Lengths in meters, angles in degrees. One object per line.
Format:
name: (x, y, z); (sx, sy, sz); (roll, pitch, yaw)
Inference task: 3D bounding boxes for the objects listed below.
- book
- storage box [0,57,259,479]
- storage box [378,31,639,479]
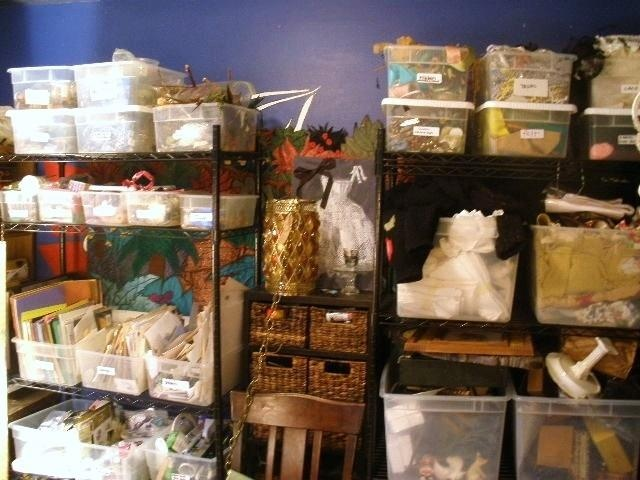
book: (-1.341, 0.459, 2.903); (0.588, 0.508, 0.444); (0, 3, 25)
storage box: (-0.957, 0.113, 2.756); (1.211, 1.952, 0.836); (2, 12, 17)
storage box: (0.848, 0.059, 2.472); (1.145, 1.966, 0.631); (-1, 12, 5)
